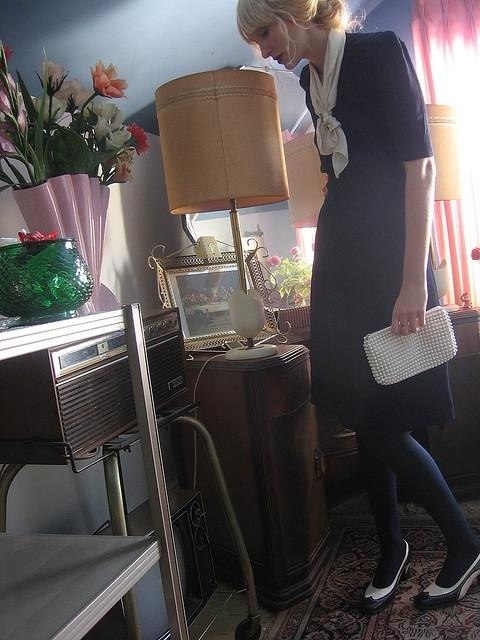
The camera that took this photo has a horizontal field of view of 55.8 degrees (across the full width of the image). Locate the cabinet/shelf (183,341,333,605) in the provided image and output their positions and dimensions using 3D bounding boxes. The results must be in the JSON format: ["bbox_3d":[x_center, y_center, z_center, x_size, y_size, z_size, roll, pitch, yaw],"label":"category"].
[{"bbox_3d":[0.074,0.419,1.363,0.374,0.640,0.365,-2,7,42],"label":"cabinet/shelf"}]

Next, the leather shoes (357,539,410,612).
[{"bbox_3d":[0.379,0.672,1.218,0.073,0.089,0.221,-7,13,37],"label":"leather shoes"}]
